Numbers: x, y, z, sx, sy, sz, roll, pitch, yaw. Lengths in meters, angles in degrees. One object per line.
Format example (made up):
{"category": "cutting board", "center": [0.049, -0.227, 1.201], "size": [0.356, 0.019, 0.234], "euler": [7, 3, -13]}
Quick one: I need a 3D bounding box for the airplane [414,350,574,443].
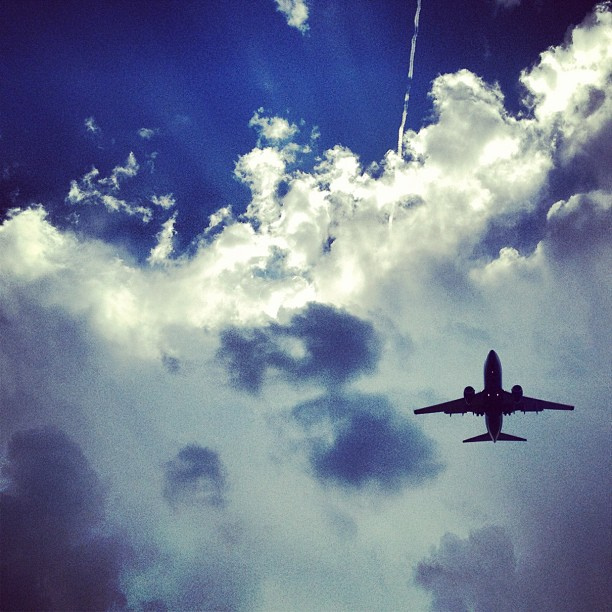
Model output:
{"category": "airplane", "center": [42.719, 24.815, 267.340], "size": [23.757, 6.938, 28.973], "euler": [35, -57, -21]}
